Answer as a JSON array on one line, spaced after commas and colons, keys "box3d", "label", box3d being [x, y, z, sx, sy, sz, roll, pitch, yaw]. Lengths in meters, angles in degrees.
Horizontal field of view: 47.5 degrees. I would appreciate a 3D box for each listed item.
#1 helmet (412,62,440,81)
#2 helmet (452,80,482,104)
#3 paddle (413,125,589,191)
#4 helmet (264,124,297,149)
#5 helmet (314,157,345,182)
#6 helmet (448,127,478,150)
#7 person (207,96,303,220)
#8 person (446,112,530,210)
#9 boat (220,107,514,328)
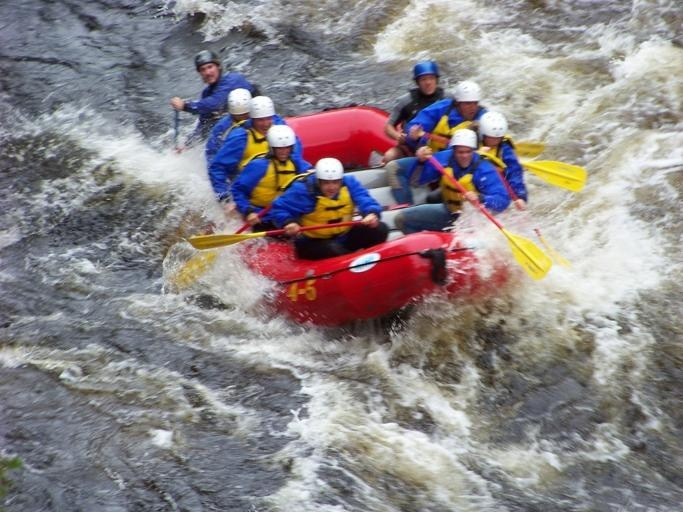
[{"box3d": [0.974, -2.167, 9.038, 0.343, 0.342, 0.121, -1, 99, 8], "label": "helmet"}, {"box3d": [1.410, -1.811, 8.540, 0.301, 0.324, 0.188, -11, 102, -17], "label": "helmet"}, {"box3d": [1.726, -1.083, 8.310, 1.836, 0.437, 0.073, 17, 59, 21], "label": "paddle"}, {"box3d": [-0.615, -1.242, 7.988, 0.288, 0.317, 0.181, -10, 93, -22], "label": "helmet"}, {"box3d": [-0.114, -0.842, 7.485, 0.279, 0.286, 0.165, -1, 80, -8], "label": "helmet"}, {"box3d": [1.237, -1.201, 7.892, 0.289, 0.264, 0.135, 2, 109, 0], "label": "helmet"}, {"box3d": [-1.036, -1.079, 8.462, 1.508, 0.525, 1.213, -10, 58, -10], "label": "person"}, {"box3d": [1.706, -0.999, 8.162, 0.758, 0.434, 0.993, -29, 82, 9], "label": "person"}, {"box3d": [-0.185, -0.391, 8.391, 2.722, 0.877, 3.019, -16, 32, -12], "label": "boat"}]
